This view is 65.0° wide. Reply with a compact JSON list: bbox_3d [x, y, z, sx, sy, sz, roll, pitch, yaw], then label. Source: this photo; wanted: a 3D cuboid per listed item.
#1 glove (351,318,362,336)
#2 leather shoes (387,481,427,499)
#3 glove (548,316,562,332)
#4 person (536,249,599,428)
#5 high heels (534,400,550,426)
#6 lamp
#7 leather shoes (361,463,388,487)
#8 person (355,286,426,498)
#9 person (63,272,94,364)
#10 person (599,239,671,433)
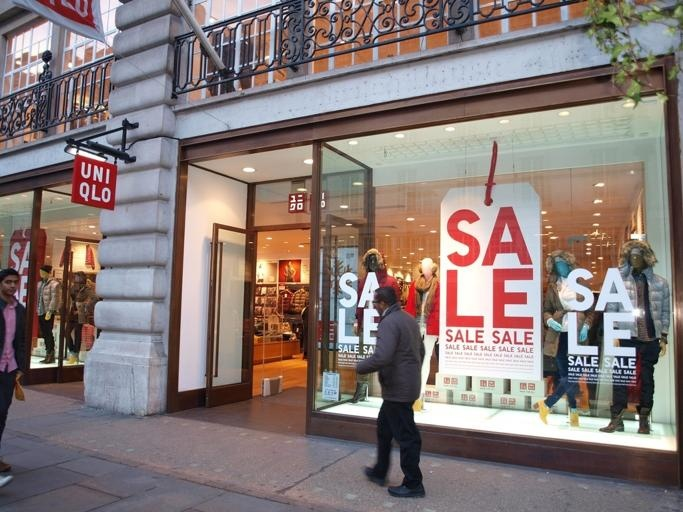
[{"bbox_3d":[0.234,1.040,7.728,0.175,0.331,0.179,2,-4,14],"label":"glove"},{"bbox_3d":[0.699,2.509,5.799,0.367,0.154,0.157,3,-10,11],"label":"leather shoes"},{"bbox_3d":[2.667,0.873,6.670,0.047,0.111,0.186,11,26,-51],"label":"glove"},{"bbox_3d":[2.696,1.007,6.647,0.471,2.109,0.149,0,-1,19],"label":"person"},{"bbox_3d":[2.501,1.926,6.651,0.171,0.308,0.104,-18,-12,20],"label":"high heels"},{"bbox_3d":[-4.161,-1.969,9.081,0.842,0.815,1.093,0,-2,36],"label":"lamp"},{"bbox_3d":[0.381,2.483,6.071,0.129,0.138,0.297,16,-4,-34],"label":"leather shoes"},{"bbox_3d":[0.556,1.469,5.893,0.689,2.220,0.494,0,-1,3],"label":"person"},{"bbox_3d":[-5.672,1.357,11.626,0.560,1.975,0.253,1,-1,-34],"label":"person"},{"bbox_3d":[3.504,0.959,6.299,0.654,2.264,0.196,0,-1,33],"label":"person"}]
